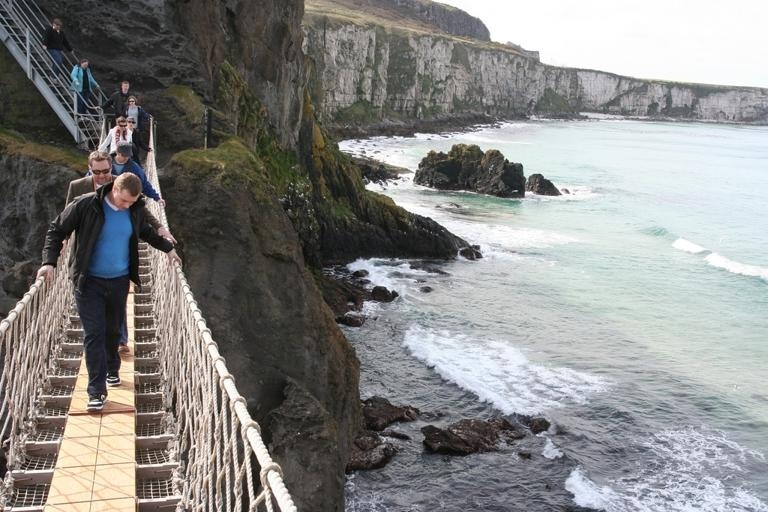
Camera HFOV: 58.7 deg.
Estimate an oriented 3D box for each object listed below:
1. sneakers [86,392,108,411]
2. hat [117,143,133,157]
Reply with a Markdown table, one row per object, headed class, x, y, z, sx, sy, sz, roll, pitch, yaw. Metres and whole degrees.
| class | x | y | z | sx | sy | sz | roll | pitch | yaw |
| --- | --- | --- | --- | --- | --- | --- | --- | --- | --- |
| sneakers | -4.103 | 2.084 | 9.754 | 0.288 | 0.206 | 0.175 | -8 | 16 | -30 |
| hat | -4.483 | -1.874 | 11.810 | 0.215 | 0.137 | 0.277 | 17 | 4 | -19 |
